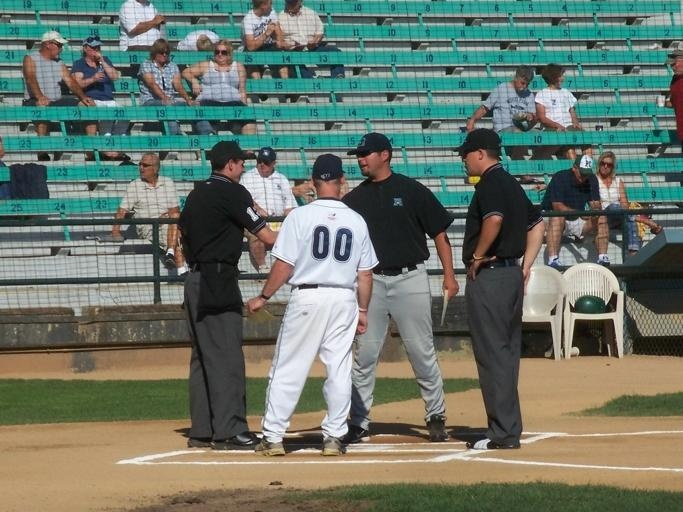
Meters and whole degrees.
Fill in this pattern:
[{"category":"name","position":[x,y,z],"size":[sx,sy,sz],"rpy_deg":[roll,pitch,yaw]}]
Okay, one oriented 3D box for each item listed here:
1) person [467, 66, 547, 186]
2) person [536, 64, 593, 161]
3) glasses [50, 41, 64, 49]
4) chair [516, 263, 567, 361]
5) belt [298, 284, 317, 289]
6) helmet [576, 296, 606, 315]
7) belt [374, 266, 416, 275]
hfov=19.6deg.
[{"category":"person","position":[3.326,-2.550,38.342],"size":[1.503,2.304,0.953],"rpy_deg":[1,2,39]},{"category":"person","position":[4.220,-2.834,38.287],"size":[0.855,2.094,0.818],"rpy_deg":[2,12,-11]},{"category":"glasses","position":[-5.301,-3.910,37.019],"size":[0.127,0.111,0.356],"rpy_deg":[-3,1,7]},{"category":"chair","position":[3.654,0.892,34.841],"size":[1.382,1.850,1.350],"rpy_deg":[1,3,10]},{"category":"belt","position":[-0.479,0.425,28.848],"size":[0.272,0.060,0.052],"rpy_deg":[-3,1,15]},{"category":"helmet","position":[4.348,0.805,34.254],"size":[0.411,0.222,0.286],"rpy_deg":[-6,26,-6]},{"category":"belt","position":[0.824,0.208,29.583],"size":[0.618,0.112,0.104],"rpy_deg":[-3,1,10]}]
